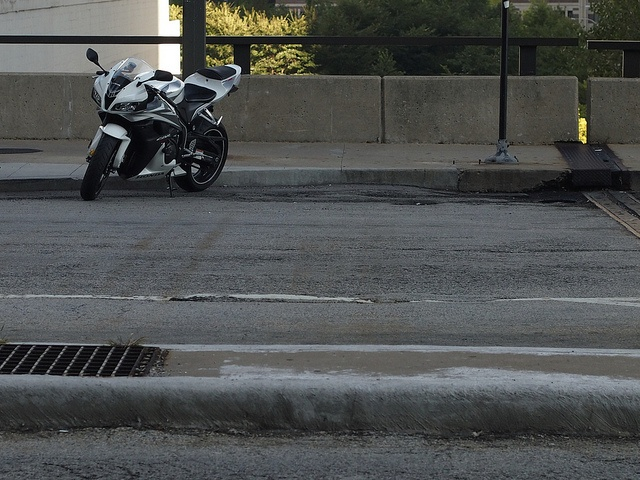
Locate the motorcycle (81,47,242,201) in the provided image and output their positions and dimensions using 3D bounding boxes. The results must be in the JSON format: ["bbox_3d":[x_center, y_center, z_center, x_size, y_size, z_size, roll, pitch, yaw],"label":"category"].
[{"bbox_3d":[-1.896,-1.351,18.420,1.061,1.665,2.842,12,12,29],"label":"motorcycle"}]
